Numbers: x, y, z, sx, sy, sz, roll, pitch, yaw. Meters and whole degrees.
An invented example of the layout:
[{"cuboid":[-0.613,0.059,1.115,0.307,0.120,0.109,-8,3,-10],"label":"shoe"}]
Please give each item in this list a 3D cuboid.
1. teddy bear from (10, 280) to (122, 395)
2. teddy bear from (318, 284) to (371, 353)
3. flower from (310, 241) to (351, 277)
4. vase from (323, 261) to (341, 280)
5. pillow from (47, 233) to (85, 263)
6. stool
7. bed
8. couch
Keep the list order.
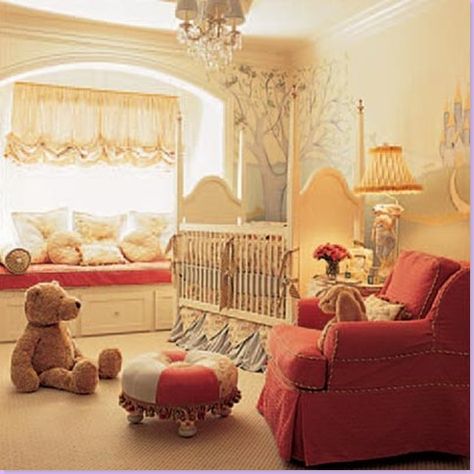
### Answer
[{"cuboid":[-1.097,0.649,3.022,0.668,0.700,0.599,1,-3,-37],"label":"teddy bear"},{"cuboid":[0.493,0.365,2.203,0.267,0.403,0.253,-2,-4,31],"label":"teddy bear"},{"cuboid":[0.655,0.139,3.174,0.225,0.254,0.228,1,3,41],"label":"flower"},{"cuboid":[0.671,0.239,3.287,0.100,0.148,0.113,-2,-3,40],"label":"vase"},{"cuboid":[-1.750,0.107,4.678,0.297,0.331,0.097,1,-31,-24],"label":"pillow"},{"cuboid":[-0.287,0.809,2.397,0.624,0.349,0.435,-1,5,-6],"label":"stool"},{"cuboid":[0.280,0.074,4.249,1.427,2.377,2.182,1,1,-25],"label":"bed"},{"cuboid":[0.523,0.584,2.393,0.892,0.944,0.766,2,-5,-7],"label":"couch"}]
